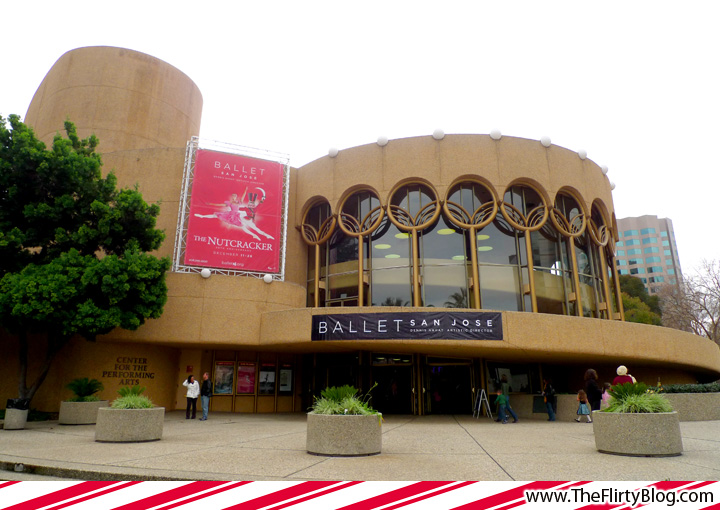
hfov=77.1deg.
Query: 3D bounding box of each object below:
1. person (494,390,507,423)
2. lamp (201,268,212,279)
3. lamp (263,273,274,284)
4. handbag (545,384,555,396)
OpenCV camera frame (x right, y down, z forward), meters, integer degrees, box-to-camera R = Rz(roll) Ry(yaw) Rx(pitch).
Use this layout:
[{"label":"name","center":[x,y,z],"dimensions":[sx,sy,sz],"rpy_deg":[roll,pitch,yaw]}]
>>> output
[{"label":"person","center":[6.545,7.034,21.110],"dimensions":[0.495,1.379,2.700],"rpy_deg":[-5,-18,15]},{"label":"lamp","center":[-7.942,0.899,23.282],"dimensions":[0.550,0.563,0.336],"rpy_deg":[5,-18,-18]},{"label":"lamp","center":[-4.903,1.221,24.119],"dimensions":[0.464,0.580,0.491],"rpy_deg":[-2,-17,4]},{"label":"handbag","center":[9.167,6.581,21.986],"dimensions":[0.380,0.592,0.989],"rpy_deg":[-8,-19,23]}]
